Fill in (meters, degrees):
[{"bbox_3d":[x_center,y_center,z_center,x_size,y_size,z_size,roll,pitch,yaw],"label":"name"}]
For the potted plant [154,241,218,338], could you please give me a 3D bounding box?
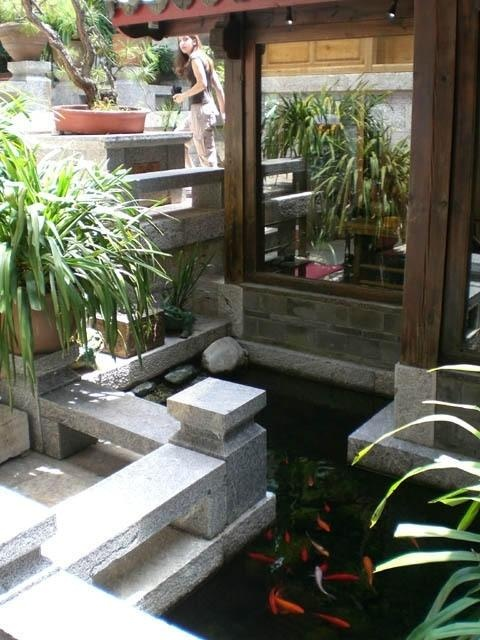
[{"bbox_3d":[-0.532,-0.244,4.551,0.356,0.759,0.388,4,-5,-29],"label":"potted plant"}]
